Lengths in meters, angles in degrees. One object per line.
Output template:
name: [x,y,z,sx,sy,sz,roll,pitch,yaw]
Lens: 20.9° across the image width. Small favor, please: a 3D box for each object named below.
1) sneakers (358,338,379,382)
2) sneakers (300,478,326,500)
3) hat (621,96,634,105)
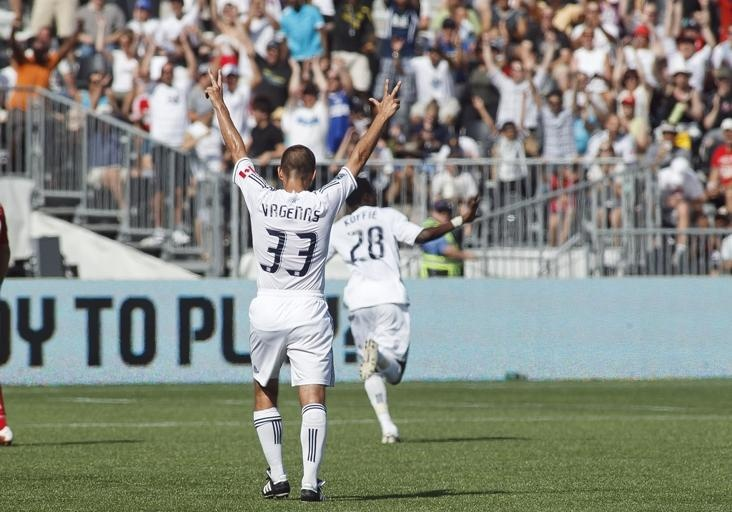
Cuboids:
sneakers: [0.043,1.305,24.804,0.244,0.500,0.112,-6,-40,15]
sneakers: [-0.624,2.675,22.686,0.279,0.244,0.192,-3,14,-6]
hat: [4.058,-2.408,30.743,0.128,0.151,0.151,6,26,15]
